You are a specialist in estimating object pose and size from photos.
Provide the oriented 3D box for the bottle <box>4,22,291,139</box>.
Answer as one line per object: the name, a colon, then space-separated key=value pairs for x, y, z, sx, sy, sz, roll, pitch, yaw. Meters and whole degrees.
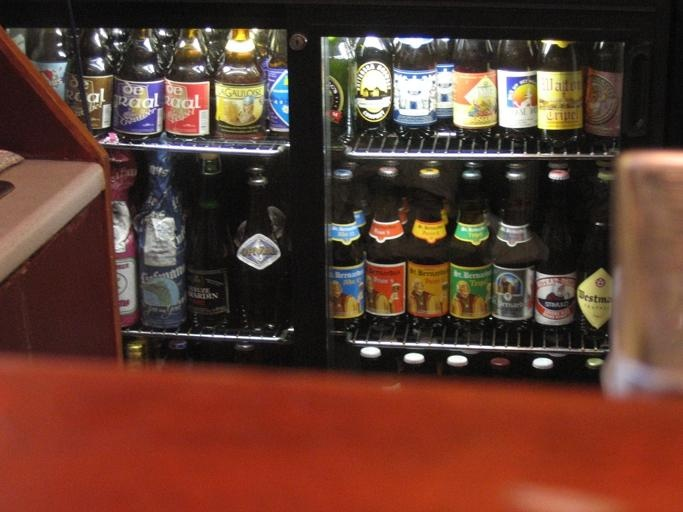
bottle: x=-0.434 y=-0.409 z=1.374 sx=0.514 sy=0.229 sz=0.076 roll=-1 pitch=44 yaw=-3
